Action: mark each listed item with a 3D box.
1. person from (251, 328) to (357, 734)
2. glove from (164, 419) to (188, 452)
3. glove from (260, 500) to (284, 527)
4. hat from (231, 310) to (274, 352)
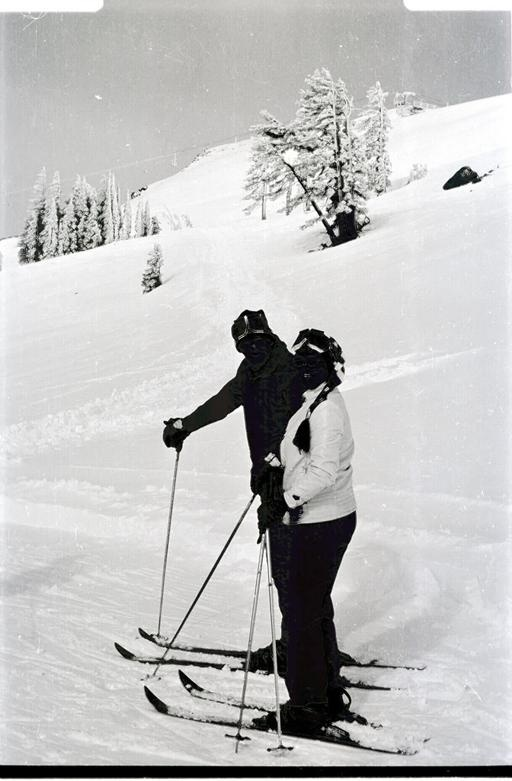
[{"bbox_3d":[0.216,0.603,4.515,0.375,1.702,0.321,3,5,16],"label":"person"},{"bbox_3d":[-0.383,0.211,5.207,0.147,0.081,0.113,-9,22,42],"label":"glove"},{"bbox_3d":[0.064,0.490,4.406,0.107,0.106,0.187,2,1,6],"label":"glove"},{"bbox_3d":[-0.012,-0.272,4.909,0.141,0.194,0.153,-14,44,-2],"label":"hat"}]
